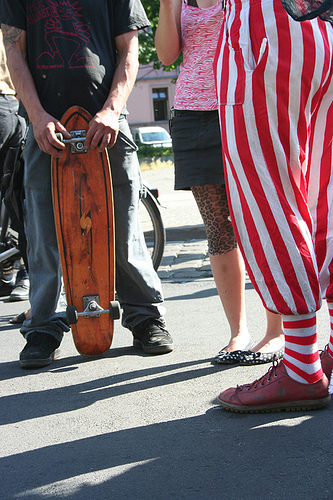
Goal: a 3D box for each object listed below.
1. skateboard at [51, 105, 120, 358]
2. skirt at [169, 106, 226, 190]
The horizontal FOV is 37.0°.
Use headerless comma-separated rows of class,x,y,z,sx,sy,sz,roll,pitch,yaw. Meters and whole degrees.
skateboard,-0.377,-0.063,2.389,0.280,0.890,0.293,-6,4,-6
skirt,0.131,-0.469,2.286,0.240,0.346,0.256,-12,20,-18
